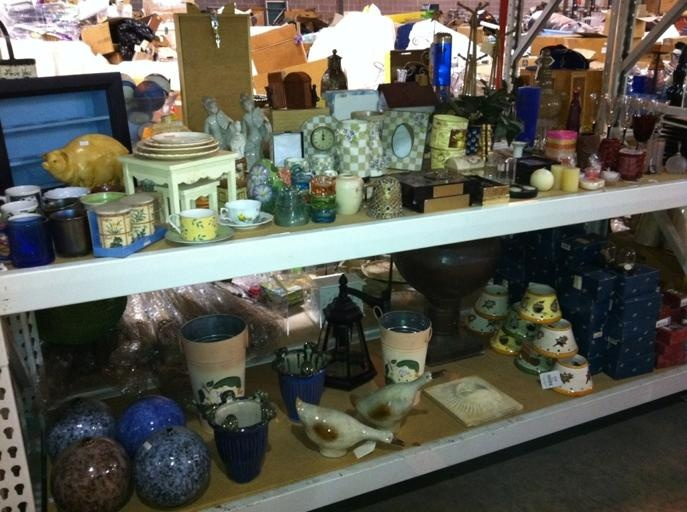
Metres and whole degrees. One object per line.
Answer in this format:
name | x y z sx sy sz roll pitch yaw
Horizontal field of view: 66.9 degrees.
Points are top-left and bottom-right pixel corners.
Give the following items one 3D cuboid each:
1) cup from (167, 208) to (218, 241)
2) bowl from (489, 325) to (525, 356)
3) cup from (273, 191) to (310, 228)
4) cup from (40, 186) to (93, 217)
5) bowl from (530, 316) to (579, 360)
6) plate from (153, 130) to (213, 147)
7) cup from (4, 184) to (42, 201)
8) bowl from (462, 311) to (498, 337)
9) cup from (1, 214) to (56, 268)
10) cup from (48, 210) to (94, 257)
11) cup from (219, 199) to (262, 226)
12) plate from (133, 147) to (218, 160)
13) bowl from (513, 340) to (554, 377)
cup | -0.428 -0.095 1.533 0.150 0.070 0.083 -1 30 -7
bowl | 0.724 0.374 2.379 0.120 0.116 0.134 0 22 -30
cup | -0.164 -0.156 1.719 0.123 0.105 0.118 2 34 -1
cup | -0.863 -0.161 1.613 0.139 0.048 0.111 3 31 0
bowl | 0.871 0.338 2.136 0.169 0.102 0.164 0 16 0
plate | -0.490 -0.361 1.596 0.115 0.013 0.104 6 20 -1
cup | -0.965 -0.193 1.577 0.070 0.045 0.064 9 19 11
bowl | 0.669 0.327 2.539 0.133 0.069 0.119 -2 21 -8
cup | -0.829 -0.044 1.470 0.155 0.141 0.139 -4 5 -8
cup | -0.751 -0.060 1.516 0.140 0.131 0.125 2 25 -5
cup | -0.309 -0.143 1.637 0.088 0.043 0.101 -14 19 -37
plate | -0.500 -0.312 1.580 0.247 0.026 0.113 -7 22 -16
bowl | 0.848 0.442 2.230 0.148 0.110 0.133 0 -1 -5
